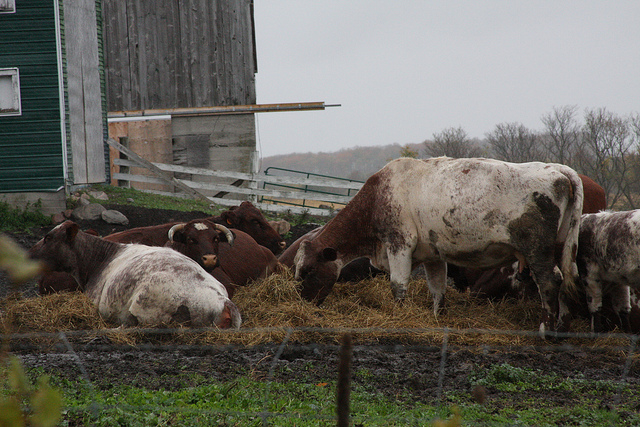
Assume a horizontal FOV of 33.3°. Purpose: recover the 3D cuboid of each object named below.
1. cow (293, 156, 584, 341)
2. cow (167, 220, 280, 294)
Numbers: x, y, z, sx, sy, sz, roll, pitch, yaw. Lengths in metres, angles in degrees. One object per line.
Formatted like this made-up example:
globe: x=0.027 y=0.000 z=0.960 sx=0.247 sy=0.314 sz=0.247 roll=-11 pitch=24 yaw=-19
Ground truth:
cow: x=2.455 y=0.715 z=22.133 sx=6.940 sy=3.301 sz=2.061 roll=-4 pitch=-7 yaw=34
cow: x=-2.628 y=0.687 z=22.928 sx=1.375 sy=1.432 sz=3.123 roll=-11 pitch=11 yaw=-13
